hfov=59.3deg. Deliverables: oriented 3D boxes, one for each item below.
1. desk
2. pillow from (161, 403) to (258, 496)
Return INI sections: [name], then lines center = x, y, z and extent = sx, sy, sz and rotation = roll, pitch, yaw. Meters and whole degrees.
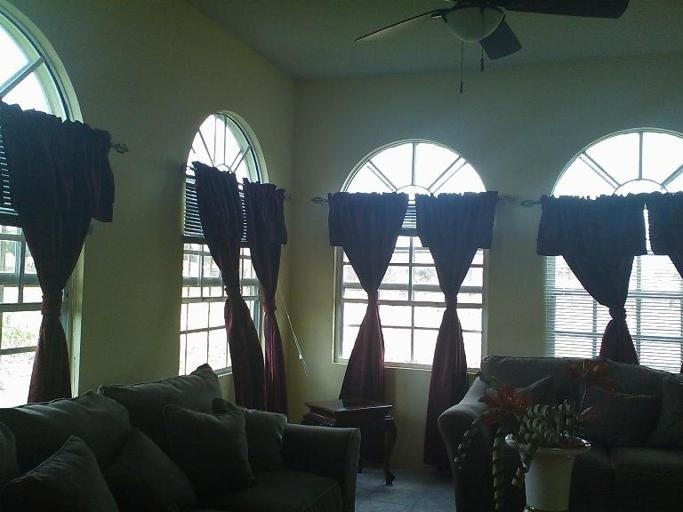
[desk]
center = 0.068, 1.433, 5.045
extent = 0.751, 0.753, 0.658
rotation = 9, -16, -39
[pillow]
center = -0.712, 1.116, 3.497
extent = 0.432, 0.426, 0.218
rotation = 5, -19, -38
